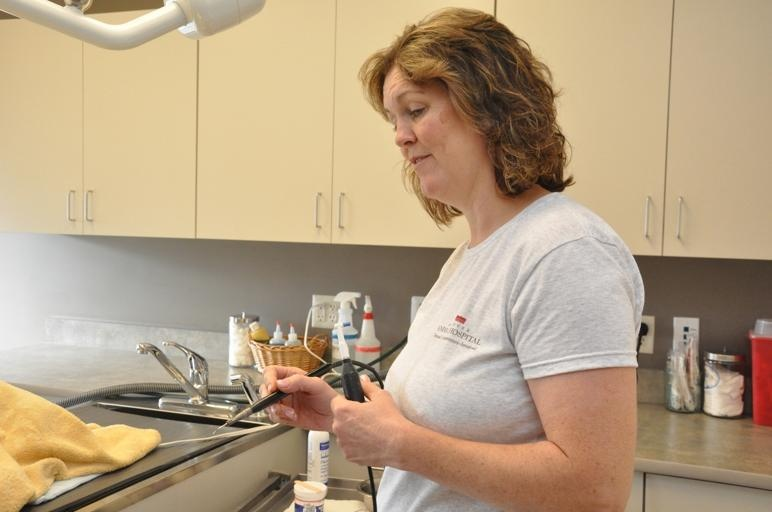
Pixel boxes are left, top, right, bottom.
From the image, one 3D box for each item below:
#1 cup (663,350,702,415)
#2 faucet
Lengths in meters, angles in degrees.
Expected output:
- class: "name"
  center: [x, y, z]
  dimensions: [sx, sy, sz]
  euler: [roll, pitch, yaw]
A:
- class: "cup"
  center: [1.187, 0.499, 2.479]
  dimensions: [0.124, 0.240, 0.055]
  euler: [-3, -3, 22]
- class: "faucet"
  center: [-0.825, 0.459, 2.461]
  dimensions: [0.224, 0.243, 0.238]
  euler: [-2, -4, -4]
